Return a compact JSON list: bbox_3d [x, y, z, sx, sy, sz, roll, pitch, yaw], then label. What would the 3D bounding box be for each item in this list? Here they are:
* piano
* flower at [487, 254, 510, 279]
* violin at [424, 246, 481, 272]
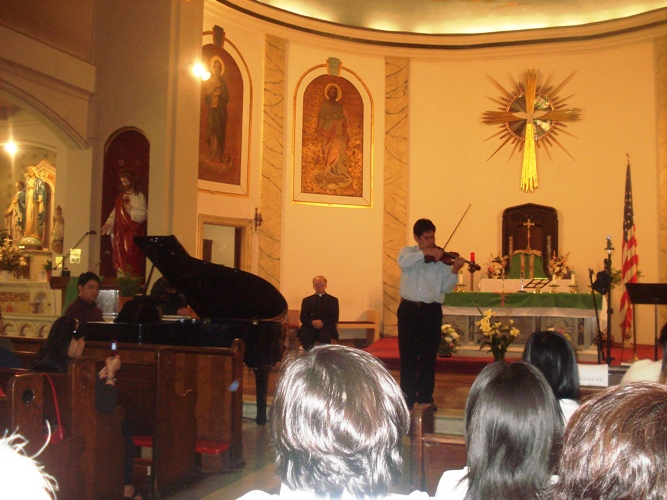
[{"bbox_3d":[-1.261,0.634,6.703,1.725,1.902,1.361,1,-3,27],"label":"piano"},{"bbox_3d":[2.898,0.314,12.036,0.362,0.514,0.482,10,-8,-38],"label":"flower"},{"bbox_3d":[1.364,0.101,7.484,0.668,0.119,0.273,19,3,-24],"label":"violin"}]
